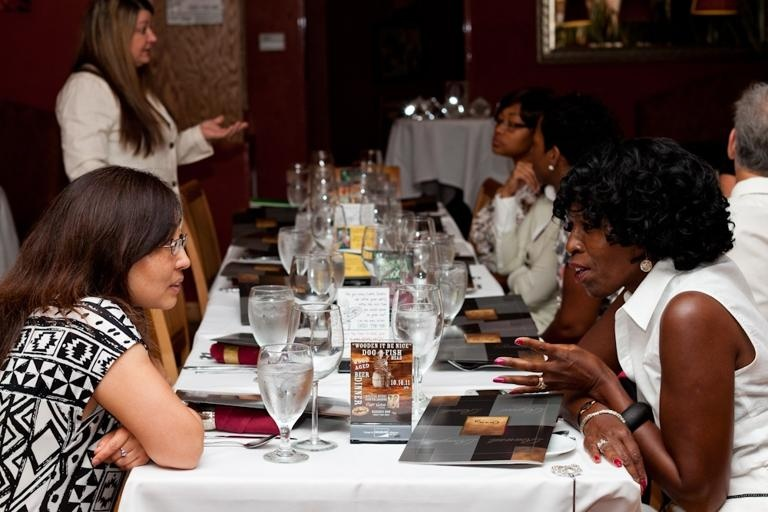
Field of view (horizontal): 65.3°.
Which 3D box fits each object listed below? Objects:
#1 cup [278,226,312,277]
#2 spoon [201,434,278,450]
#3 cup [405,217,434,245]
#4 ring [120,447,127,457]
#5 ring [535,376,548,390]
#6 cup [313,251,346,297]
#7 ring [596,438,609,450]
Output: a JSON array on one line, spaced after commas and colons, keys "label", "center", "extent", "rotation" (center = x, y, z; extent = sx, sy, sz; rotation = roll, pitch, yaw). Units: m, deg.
[{"label": "cup", "center": [-0.314, -0.018, 2.017], "extent": [0.140, 0.217, 0.141], "rotation": [2, 0, 0]}, {"label": "spoon", "center": [-0.297, 0.383, 1.232], "extent": [0.177, 0.026, 0.029], "rotation": [3, 49, 2]}, {"label": "cup", "center": [0.137, -0.102, 2.328], "extent": [0.116, 0.114, 0.115], "rotation": [1, 4, 0]}, {"label": "ring", "center": [-0.517, 0.385, 1.180], "extent": [0.012, 0.016, 0.004], "rotation": [-3, -2, -4]}, {"label": "ring", "center": [0.368, 0.300, 1.402], "extent": [0.028, 0.028, 0.027], "rotation": [-5, 50, 6]}, {"label": "cup", "center": [-0.156, 0.046, 1.797], "extent": [0.115, 0.183, 0.121], "rotation": [0, 7, 0]}, {"label": "ring", "center": [0.433, 0.373, 1.190], "extent": [0.008, 0.018, 0.016], "rotation": [41, 28, 17]}]
